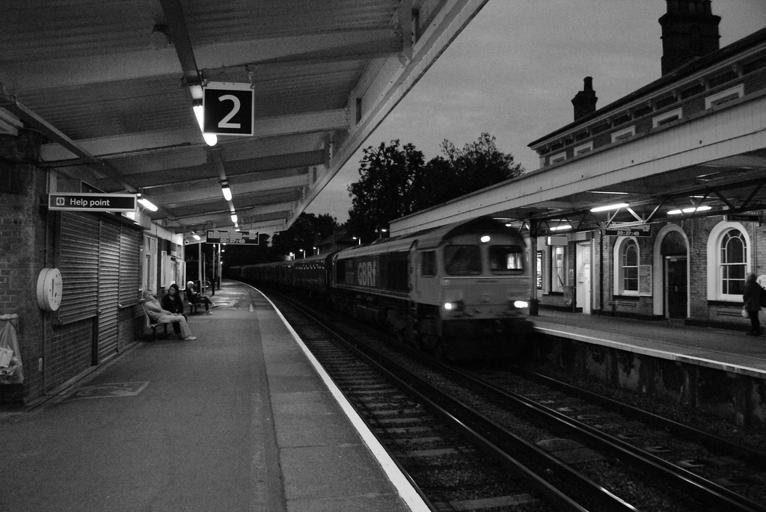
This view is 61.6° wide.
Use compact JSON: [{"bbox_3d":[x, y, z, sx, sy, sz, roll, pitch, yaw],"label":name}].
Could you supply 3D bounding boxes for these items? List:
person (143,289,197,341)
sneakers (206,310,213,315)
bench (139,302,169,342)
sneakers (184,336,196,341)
[{"bbox_3d":[-5.860,1.618,17.469,1.338,1.321,0.701,0,-3,-20],"label":"person"},{"bbox_3d":[-6.887,2.234,25.542,0.159,0.216,0.549,2,-12,-25],"label":"sneakers"},{"bbox_3d":[-6.382,1.579,17.988,0.821,1.426,1.859,0,2,-21],"label":"bench"},{"bbox_3d":[-5.267,2.254,17.562,0.273,0.121,0.102,-1,1,-7],"label":"sneakers"}]
